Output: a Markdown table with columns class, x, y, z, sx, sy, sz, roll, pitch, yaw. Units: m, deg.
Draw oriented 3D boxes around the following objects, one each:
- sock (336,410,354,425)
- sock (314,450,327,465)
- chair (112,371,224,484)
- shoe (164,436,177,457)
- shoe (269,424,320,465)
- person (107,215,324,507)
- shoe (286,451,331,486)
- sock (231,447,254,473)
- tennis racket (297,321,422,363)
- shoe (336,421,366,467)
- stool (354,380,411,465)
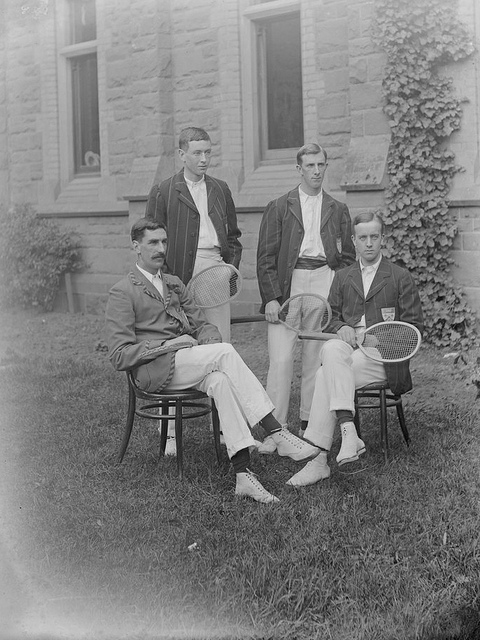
| class | x | y | z | sx | sy | sz | roll | pitch | yaw |
| --- | --- | --- | --- | --- | --- | --- | --- | --- | --- |
| sock | 0.396 | 0.361 | 2.302 | 0.043 | 0.057 | 0.052 | -19 | -11 | 6 |
| sock | 0.304 | 0.515 | 2.341 | 0.051 | 0.046 | 0.029 | 34 | -12 | -31 |
| chair | -0.312 | 0.300 | 2.577 | 0.291 | 0.588 | 0.334 | 3 | 12 | 10 |
| shoe | -0.313 | 0.568 | 2.825 | 0.049 | 0.076 | 0.047 | 0 | 4 | 7 |
| shoe | 0.204 | 0.449 | 2.269 | 0.178 | 0.133 | 0.102 | 0 | 5 | 8 |
| person | -0.093 | 0.118 | 2.453 | 0.789 | 1.036 | 0.558 | 2 | 5 | 25 |
| shoe | 0.278 | 0.577 | 2.425 | 0.183 | 0.158 | 0.083 | -8 | 5 | -27 |
| sock | 0.006 | 0.491 | 2.201 | 0.068 | 0.105 | 0.112 | 0 | 5 | 1 |
| tennis racket | 0.577 | 0.088 | 2.450 | 0.267 | 0.173 | 0.207 | 1 | 5 | 22 |
| shoe | 0.394 | 0.443 | 2.238 | 0.068 | 0.140 | 0.201 | -25 | -11 | 27 |
| stool | 0.582 | 0.412 | 2.743 | 0.207 | 0.313 | 0.250 | -4 | 11 | -16 |
